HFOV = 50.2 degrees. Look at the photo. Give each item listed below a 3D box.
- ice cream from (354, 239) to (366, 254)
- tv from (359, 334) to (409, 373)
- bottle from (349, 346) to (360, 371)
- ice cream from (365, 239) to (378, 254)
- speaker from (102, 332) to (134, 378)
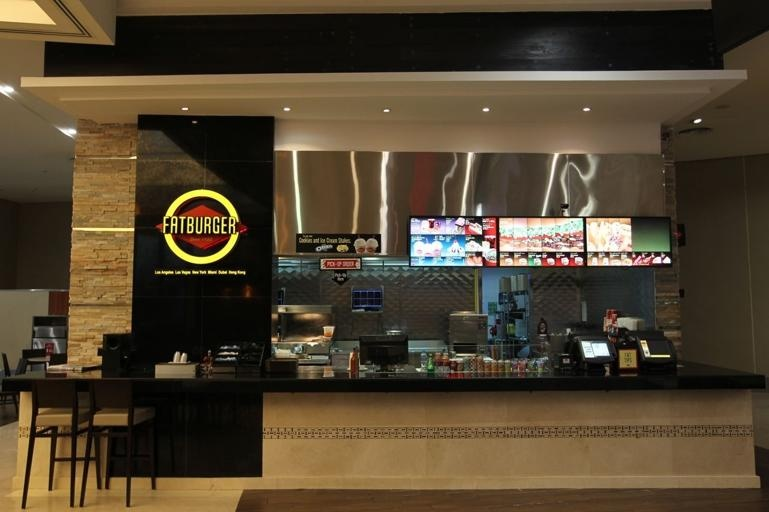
[{"bbox_3d":[-0.354,-0.143,11.942,0.161,0.228,0.068,1,-8,-12],"label":"ice cream"},{"bbox_3d":[-0.023,1.318,10.991,0.522,0.343,0.150,0,3,1],"label":"tv"},{"bbox_3d":[-0.406,1.382,10.968,0.144,0.319,0.246,-2,-8,4],"label":"bottle"},{"bbox_3d":[-0.188,-0.131,11.930,0.199,0.221,0.186,-2,3,4],"label":"ice cream"},{"bbox_3d":[-3.653,1.324,11.241,0.395,0.515,0.310,2,-9,-22],"label":"speaker"}]
